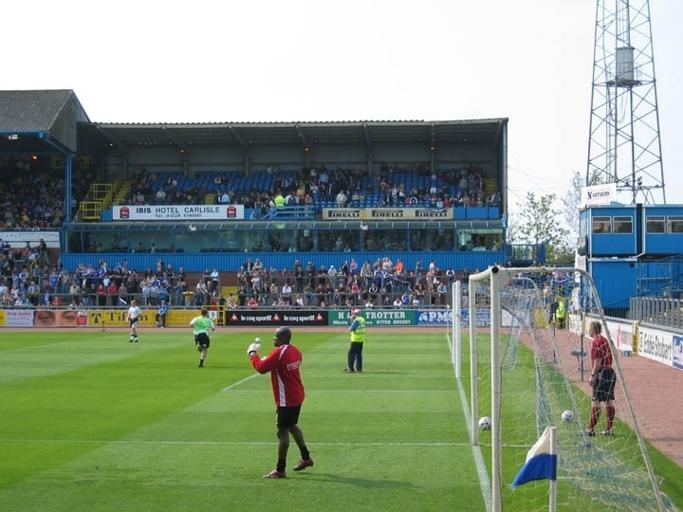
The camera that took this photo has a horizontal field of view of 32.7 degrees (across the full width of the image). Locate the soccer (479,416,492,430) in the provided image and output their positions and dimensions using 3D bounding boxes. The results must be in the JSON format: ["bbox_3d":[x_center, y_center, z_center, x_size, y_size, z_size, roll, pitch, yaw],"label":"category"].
[{"bbox_3d":[4.287,5.099,35.277,0.358,0.402,0.433,-1,-5,30],"label":"soccer"}]

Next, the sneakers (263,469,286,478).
[{"bbox_3d":[-1.935,6.162,32.763,0.597,0.289,0.232,5,-6,-2],"label":"sneakers"}]

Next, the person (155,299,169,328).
[{"bbox_3d":[-9.788,3.128,63.177,0.608,1.583,1.592,2,-4,-10],"label":"person"}]

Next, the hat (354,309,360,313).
[{"bbox_3d":[0.528,2.057,42.880,0.173,0.178,0.445,1,-4,5],"label":"hat"}]

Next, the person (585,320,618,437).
[{"bbox_3d":[7.839,3.709,35.148,0.794,3.441,1.341,1,-4,13],"label":"person"}]

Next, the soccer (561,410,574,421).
[{"bbox_3d":[6.879,4.897,35.592,0.287,0.315,0.295,-5,5,-23],"label":"soccer"}]
